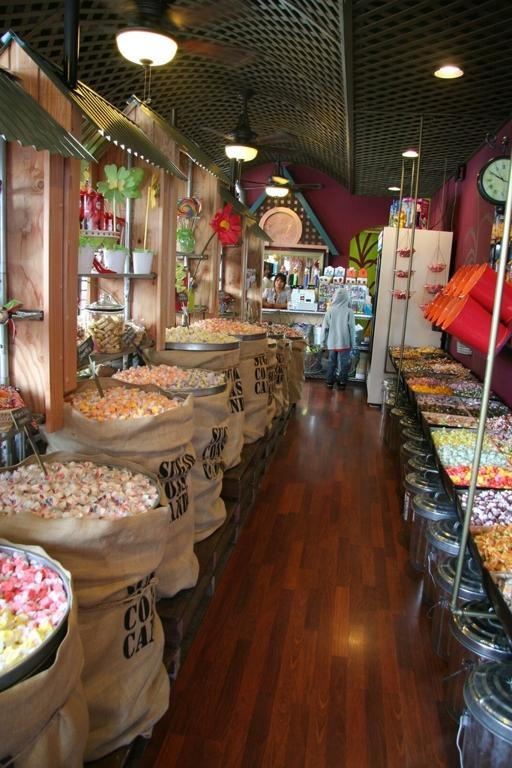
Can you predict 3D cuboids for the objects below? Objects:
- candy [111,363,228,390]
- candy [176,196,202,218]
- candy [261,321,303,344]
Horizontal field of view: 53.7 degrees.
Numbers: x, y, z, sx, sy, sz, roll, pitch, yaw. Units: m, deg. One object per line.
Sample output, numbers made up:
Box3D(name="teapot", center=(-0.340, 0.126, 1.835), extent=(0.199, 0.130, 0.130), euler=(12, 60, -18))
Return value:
Box3D(name="candy", center=(-0.419, -0.087, 2.431), extent=(0.405, 0.147, 0.350), euler=(2, 10, 10))
Box3D(name="candy", center=(-0.550, -1.416, 4.089), extent=(0.126, 0.165, 0.314), euler=(6, 9, 20))
Box3D(name="candy", center=(0.258, -0.562, 5.457), extent=(0.373, 0.120, 0.351), euler=(6, 5, 36))
